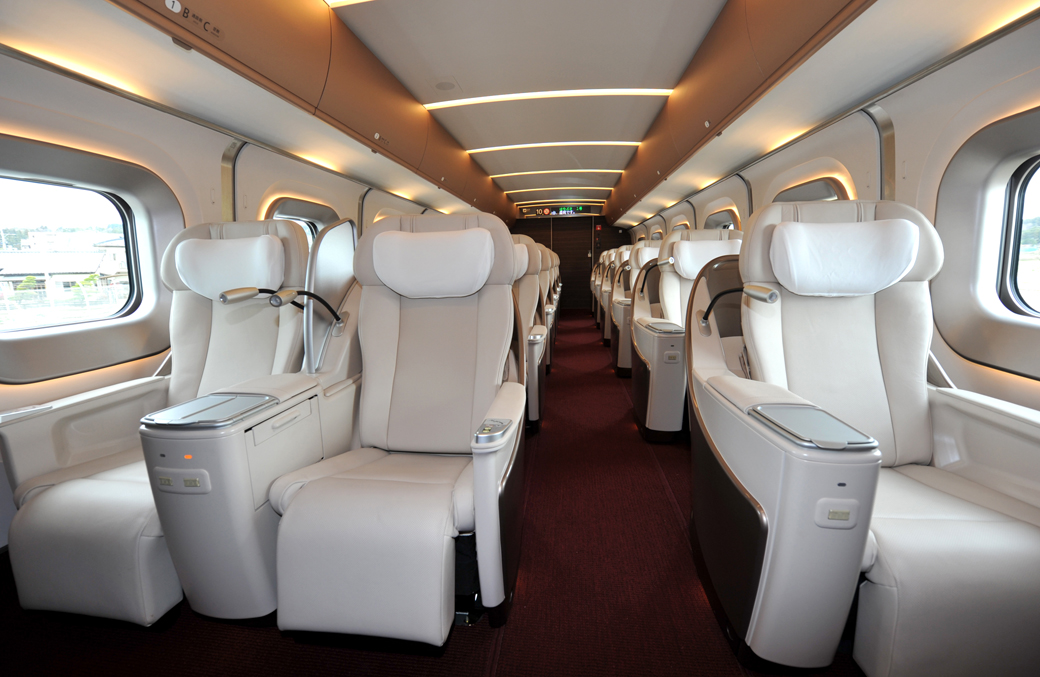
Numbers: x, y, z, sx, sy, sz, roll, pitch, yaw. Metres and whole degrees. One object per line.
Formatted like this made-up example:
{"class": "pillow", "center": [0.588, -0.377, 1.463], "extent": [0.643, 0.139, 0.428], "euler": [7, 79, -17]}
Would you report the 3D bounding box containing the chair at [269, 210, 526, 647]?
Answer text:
{"class": "chair", "center": [-0.657, 0.408, 3.765], "extent": [1.339, 2.277, 1.047], "euler": [1, 7, 5]}
